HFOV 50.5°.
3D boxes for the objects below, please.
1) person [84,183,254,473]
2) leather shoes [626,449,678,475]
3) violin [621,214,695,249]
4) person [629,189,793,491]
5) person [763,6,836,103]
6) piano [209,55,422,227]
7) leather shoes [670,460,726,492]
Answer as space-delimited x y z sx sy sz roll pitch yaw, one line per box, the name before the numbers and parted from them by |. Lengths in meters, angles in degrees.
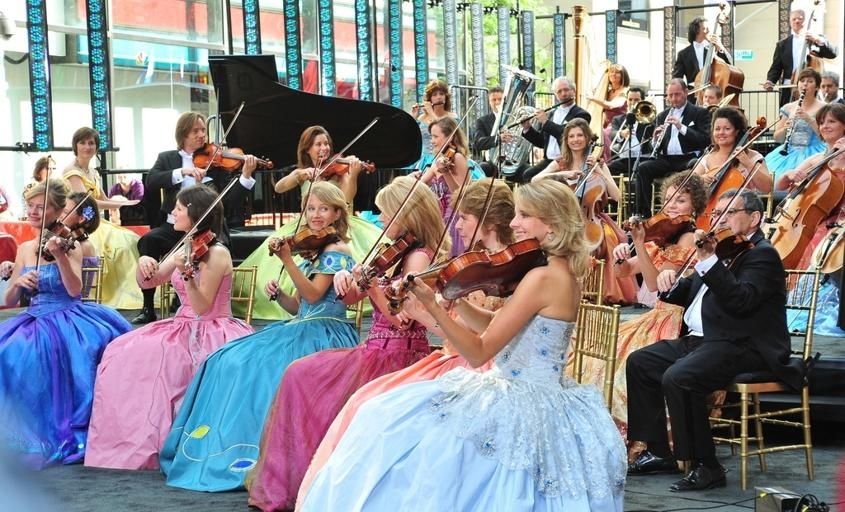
person | -1.851 0.516 6.716 0.934 1.923 1.300 6 7 45
leather shoes | 1.542 1.403 6.065 0.390 0.161 0.143 1 -4 0
violin | 1.752 -0.181 6.474 0.450 0.240 0.129 3 36 -27
person | 1.891 0.533 5.929 1.058 1.928 0.647 -1 2 10
person | 4.884 -2.638 11.680 0.617 1.578 0.839 -6 11 -23
piano | -1.145 -1.425 10.214 2.376 1.802 1.290 4 6 -2
leather shoes | 1.806 1.434 5.828 0.408 0.171 0.148 -2 0 -14
